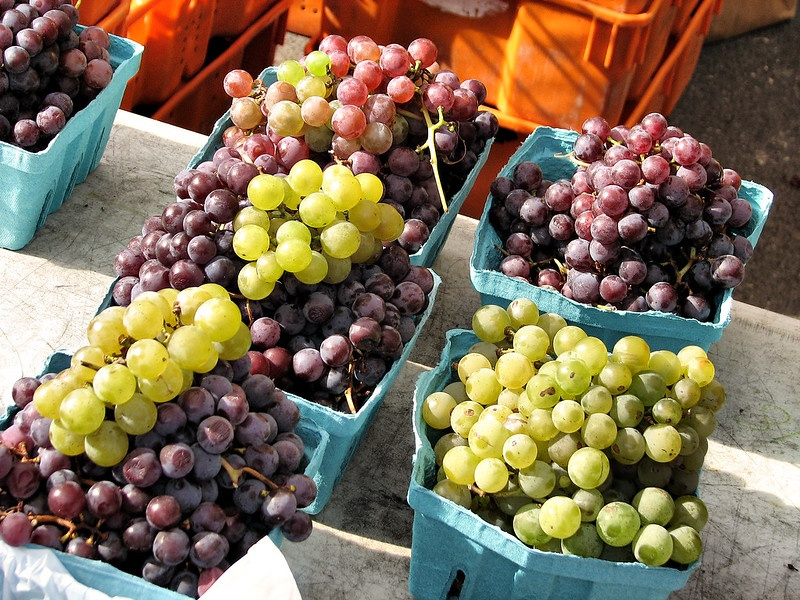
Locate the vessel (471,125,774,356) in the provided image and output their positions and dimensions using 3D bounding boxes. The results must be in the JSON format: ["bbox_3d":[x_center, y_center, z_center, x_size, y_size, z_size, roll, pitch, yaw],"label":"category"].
[{"bbox_3d":[0.691,-0.116,2.588,0.892,0.369,0.735,20,56,10],"label":"vessel"}]
